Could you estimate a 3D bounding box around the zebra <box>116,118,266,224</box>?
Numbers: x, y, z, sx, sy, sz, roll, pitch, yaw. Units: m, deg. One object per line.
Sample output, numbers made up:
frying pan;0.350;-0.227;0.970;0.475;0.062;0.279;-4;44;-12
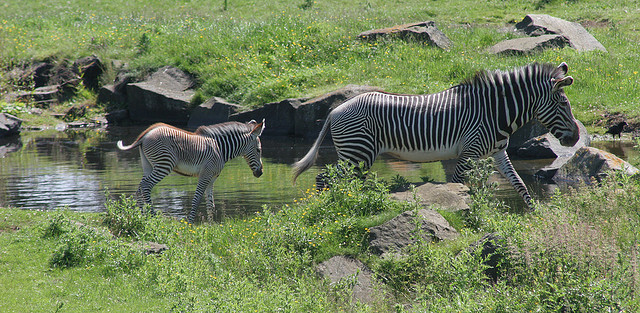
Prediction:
zebra;-6.001;0.265;39.589;6.287;1.599;3.604;-3;66;-2
